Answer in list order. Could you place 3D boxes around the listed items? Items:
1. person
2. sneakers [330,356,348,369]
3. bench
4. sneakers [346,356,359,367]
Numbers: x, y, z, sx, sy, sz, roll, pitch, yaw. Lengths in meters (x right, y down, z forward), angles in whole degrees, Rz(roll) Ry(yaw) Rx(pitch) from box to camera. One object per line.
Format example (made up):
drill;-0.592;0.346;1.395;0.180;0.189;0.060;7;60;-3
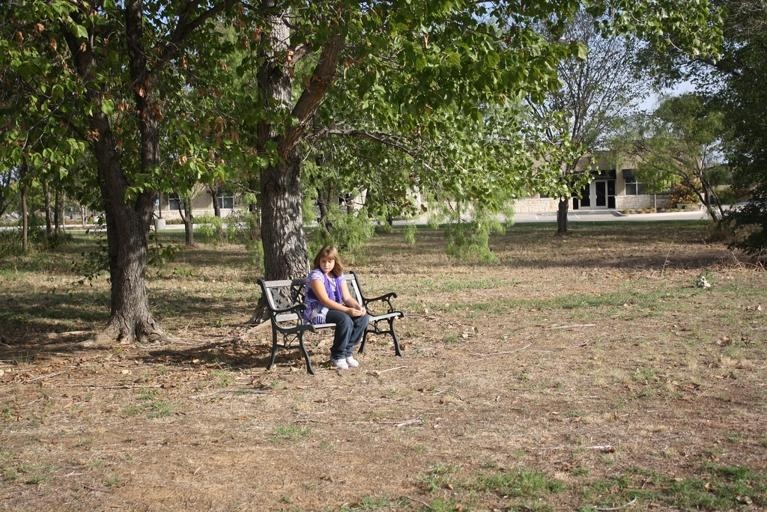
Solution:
person;-0.746;0.792;11.693;0.998;1.925;0.589;-2;2;-5
sneakers;-0.690;1.658;11.601;0.237;0.107;0.127;9;19;40
bench;-0.818;1.117;12.601;1.149;1.518;2.637;1;1;33
sneakers;-0.494;1.657;11.683;0.104;0.097;0.214;-15;14;-36
